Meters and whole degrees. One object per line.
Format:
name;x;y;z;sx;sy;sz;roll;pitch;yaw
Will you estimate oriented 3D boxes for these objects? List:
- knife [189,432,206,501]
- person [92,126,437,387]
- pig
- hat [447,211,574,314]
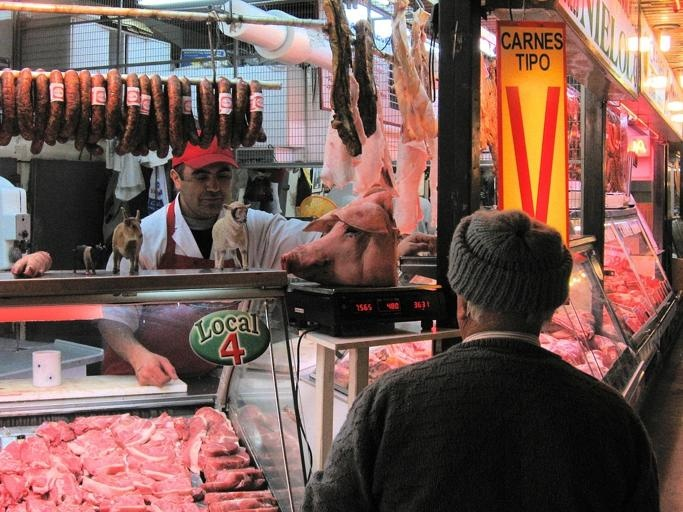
knife;-0.560;0.801;2.471;0.065;0.263;0.045;-27;-37;21
person;-0.518;0.165;3.194;1.812;1.371;1.125;12;8;28
pig;-0.006;-0.155;3.199;0.407;0.534;0.405;8;12;40
hat;0.449;0.022;1.741;0.269;0.187;0.288;-3;33;-13
